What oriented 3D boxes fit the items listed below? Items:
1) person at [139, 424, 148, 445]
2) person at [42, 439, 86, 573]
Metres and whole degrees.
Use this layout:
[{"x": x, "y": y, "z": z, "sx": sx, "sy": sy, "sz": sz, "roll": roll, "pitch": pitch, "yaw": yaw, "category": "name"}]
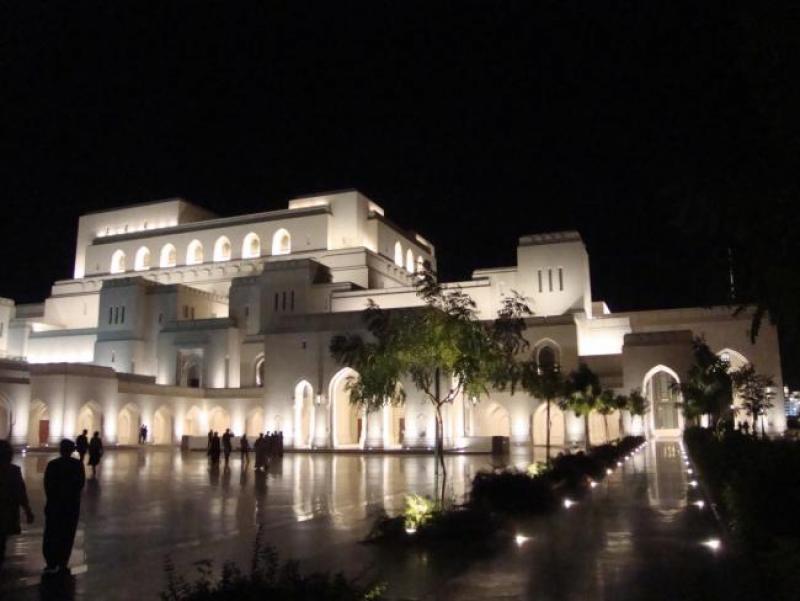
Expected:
[{"x": -15.591, "y": 8.010, "z": 40.280, "sx": 0.423, "sy": 1.183, "sz": 0.952, "roll": 4, "pitch": -14, "yaw": -23, "category": "person"}, {"x": -4.273, "y": 2.532, "z": 8.392, "sx": 0.453, "sy": 1.543, "sz": 0.788, "roll": 5, "pitch": -14, "yaw": -27, "category": "person"}]
